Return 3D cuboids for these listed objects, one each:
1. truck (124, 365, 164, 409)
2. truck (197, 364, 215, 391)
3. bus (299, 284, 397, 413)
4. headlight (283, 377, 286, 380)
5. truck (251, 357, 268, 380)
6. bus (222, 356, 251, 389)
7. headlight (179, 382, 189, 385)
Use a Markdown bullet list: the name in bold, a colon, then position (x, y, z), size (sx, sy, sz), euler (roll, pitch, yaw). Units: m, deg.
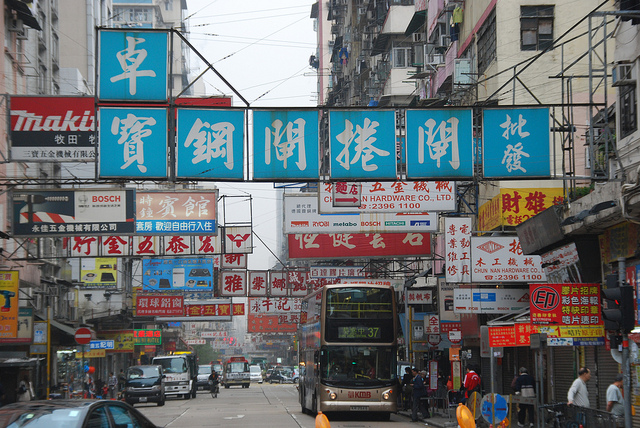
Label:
- **truck**: position (-8.820, 8.532, 69.124), size (2.010, 1.960, 3.686), euler (-4, 3, 4)
- **truck**: position (-7.481, 10.630, 88.445), size (1.255, 1.162, 2.286), euler (0, -12, -2)
- **bus**: position (0.974, 5.565, 54.964), size (2.855, 5.025, 5.137), euler (4, -12, -22)
- **headlight**: position (-2.969, 13.846, 113.472), size (0.214, 0.201, 0.113), euler (2, -14, -5)
- **truck**: position (-8.139, 19.471, 168.279), size (3.410, 2.873, 5.451), euler (0, -15, -1)
- **bus**: position (-5.947, 11.250, 96.100), size (1.761, 2.445, 3.339), euler (1, -11, -7)
- **headlight**: position (-7.445, 9.313, 74.031), size (0.491, 0.140, 0.099), euler (4, -12, -23)
